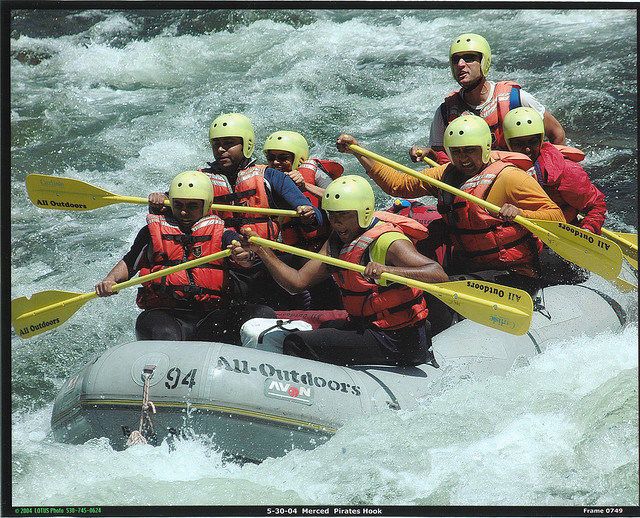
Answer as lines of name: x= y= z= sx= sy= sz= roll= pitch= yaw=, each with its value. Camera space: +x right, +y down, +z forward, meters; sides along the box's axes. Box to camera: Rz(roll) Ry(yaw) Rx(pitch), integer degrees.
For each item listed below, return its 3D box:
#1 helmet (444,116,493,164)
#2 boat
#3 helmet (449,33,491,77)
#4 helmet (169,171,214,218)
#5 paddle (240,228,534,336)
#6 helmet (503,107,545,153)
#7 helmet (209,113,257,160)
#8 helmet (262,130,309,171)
helmet: x=1.308 y=-1.020 z=6.509 sx=0.370 sy=0.316 sz=0.441 roll=7 pitch=16 yaw=26
boat: x=0.191 y=0.757 z=6.031 sx=3.501 sy=0.548 sz=1.649 roll=-4 pitch=6 yaw=-18
helmet: x=1.485 y=-2.003 z=7.391 sx=0.343 sy=0.317 sz=0.452 roll=14 pitch=22 yaw=36
helmet: x=-1.063 y=-0.539 z=6.372 sx=0.384 sy=0.355 sz=0.448 roll=9 pitch=16 yaw=24
paddle: x=0.594 y=0.196 z=6.181 sx=3.061 sy=0.428 sz=0.194 roll=13 pitch=23 yaw=-1
helmet: x=1.867 y=-1.184 z=7.055 sx=0.428 sy=0.422 sz=0.477 roll=-8 pitch=18 yaw=-6
helmet: x=-0.845 y=-1.096 z=6.817 sx=0.317 sy=0.249 sz=0.322 roll=-9 pitch=-9 yaw=5
helmet: x=-0.406 y=-1.018 z=7.395 sx=0.384 sy=0.300 sz=0.437 roll=6 pitch=-3 yaw=-9
